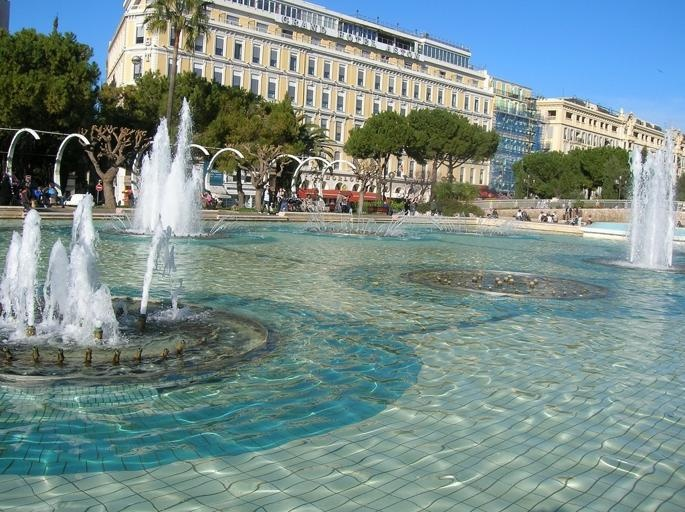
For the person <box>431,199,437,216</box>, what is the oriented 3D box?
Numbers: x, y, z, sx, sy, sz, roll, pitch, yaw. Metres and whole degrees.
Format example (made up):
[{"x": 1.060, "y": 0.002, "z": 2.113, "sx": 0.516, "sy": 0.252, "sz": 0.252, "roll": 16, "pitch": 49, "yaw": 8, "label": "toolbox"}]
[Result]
[{"x": 9.083, "y": -4.893, "z": 56.274, "sx": 0.582, "sy": 1.231, "sz": 1.676, "roll": 4, "pitch": 7, "yaw": 9, "label": "person"}]

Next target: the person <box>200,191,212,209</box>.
[{"x": -9.791, "y": -4.122, "z": 40.856, "sx": 0.539, "sy": 1.157, "sz": 2.763, "roll": 1, "pitch": 7, "yaw": -10, "label": "person"}]
